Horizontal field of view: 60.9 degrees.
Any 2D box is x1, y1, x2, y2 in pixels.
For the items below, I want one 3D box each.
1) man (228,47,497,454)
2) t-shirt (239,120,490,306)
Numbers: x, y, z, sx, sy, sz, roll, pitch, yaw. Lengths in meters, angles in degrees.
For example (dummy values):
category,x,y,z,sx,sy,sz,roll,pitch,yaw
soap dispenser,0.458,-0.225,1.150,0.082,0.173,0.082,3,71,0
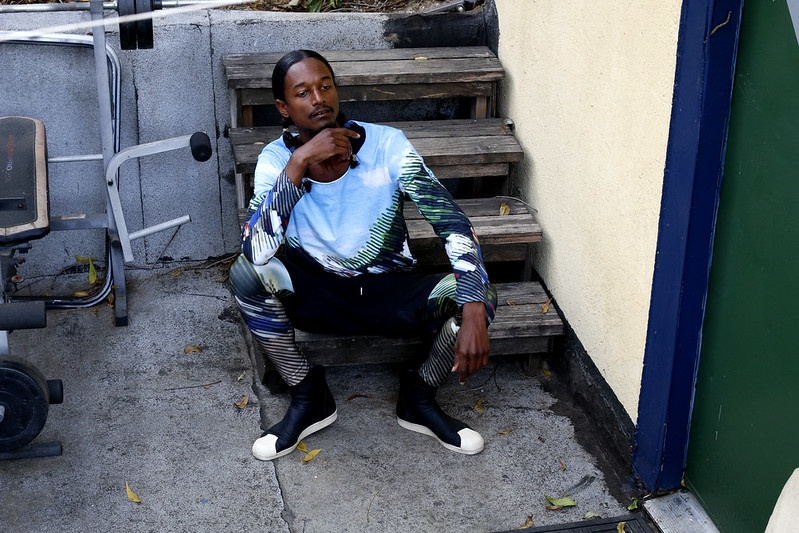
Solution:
category,x,y,z,sx,sy,sz,roll,pitch,yaw
man,-0.149,-0.035,3.277,1.304,1.801,0.917,1,19,14
t-shirt,-0.139,-0.241,3.257,1.216,0.791,0.734,-1,24,-12
